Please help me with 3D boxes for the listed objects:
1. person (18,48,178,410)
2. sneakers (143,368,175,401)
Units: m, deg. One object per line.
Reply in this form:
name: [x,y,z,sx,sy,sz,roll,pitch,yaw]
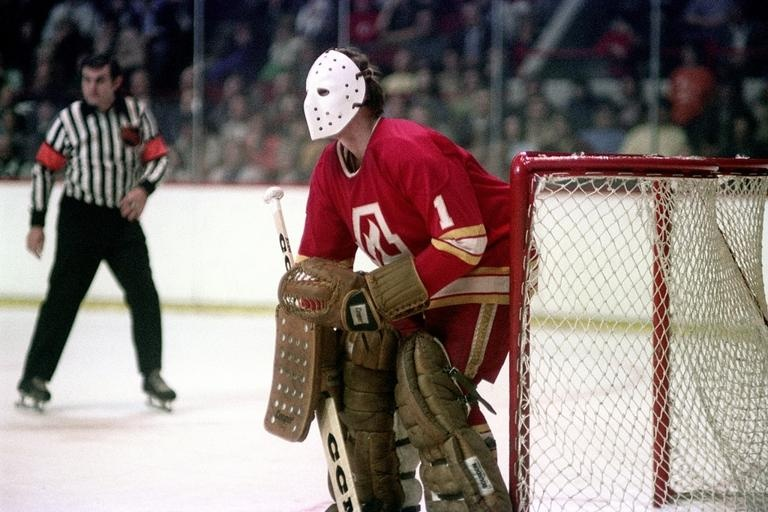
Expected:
person: [-2.030,-0.204,7.217,0.982,2.381,0.655,1,6,-17]
sneakers: [-1.592,0.877,7.235,0.109,0.149,0.332,-22,16,-24]
